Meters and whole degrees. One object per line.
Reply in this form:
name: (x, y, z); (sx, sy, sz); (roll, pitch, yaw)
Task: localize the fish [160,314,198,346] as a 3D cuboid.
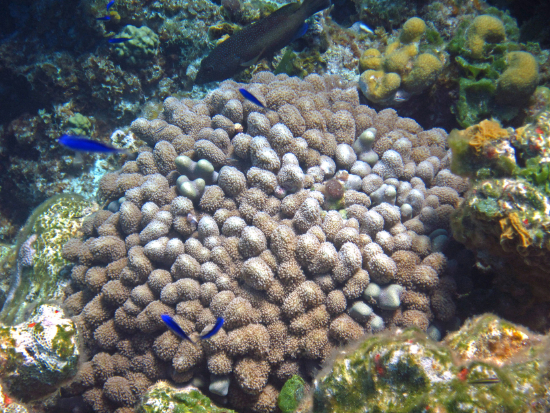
fish: (-1.272, 1.653, 8.474); (0.181, 0.106, 0.476); (-38, 89, 4)

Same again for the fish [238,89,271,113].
fish: (-0.305, -1.517, 9.201); (0.171, 0.478, 0.091); (8, 71, 51)
